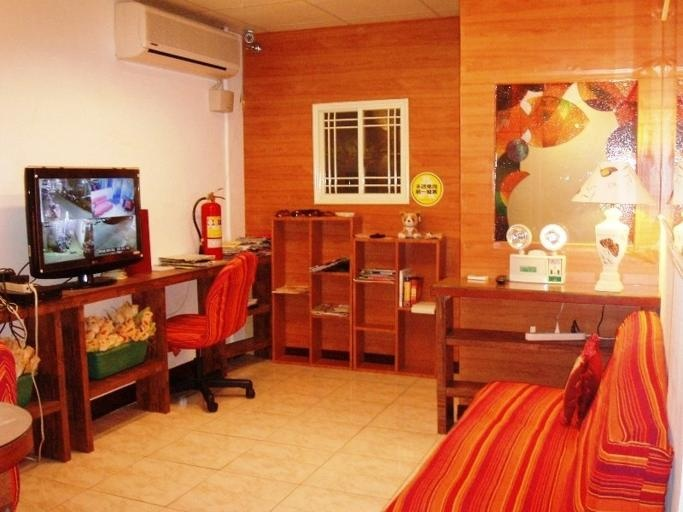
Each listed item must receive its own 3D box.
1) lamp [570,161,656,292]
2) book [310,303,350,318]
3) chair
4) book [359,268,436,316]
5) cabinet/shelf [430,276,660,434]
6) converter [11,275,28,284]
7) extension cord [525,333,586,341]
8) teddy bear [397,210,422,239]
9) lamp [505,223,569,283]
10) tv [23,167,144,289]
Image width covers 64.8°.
[{"bbox_3d":[1.864,-0.213,3.730,0.468,0.861,0.536,4,9,28],"label":"lamp"},{"bbox_3d":[-0.111,0.556,5.474,0.385,0.082,0.243,0,7,3],"label":"book"},{"bbox_3d":[-1.184,0.598,4.589,0.898,1.216,0.913,1,6,-6],"label":"chair"},{"bbox_3d":[0.549,0.359,5.233,0.791,0.472,0.417,3,8,22],"label":"book"},{"bbox_3d":[1.480,0.747,3.847,1.614,1.021,0.513,0,-1,19],"label":"cabinet/shelf"},{"bbox_3d":[-1.975,0.143,3.326,0.080,0.037,0.056,3,4,25],"label":"converter"},{"bbox_3d":[1.481,0.559,3.720,0.286,0.035,0.135,-1,0,5],"label":"extension cord"},{"bbox_3d":[0.667,-0.290,5.213,0.282,0.310,0.243,1,-3,5],"label":"teddy bear"},{"bbox_3d":[1.454,-0.019,3.961,0.466,0.423,0.162,0,-4,23],"label":"lamp"},{"bbox_3d":[-1.773,-0.210,3.839,1.012,0.821,0.112,-3,0,19],"label":"tv"}]
